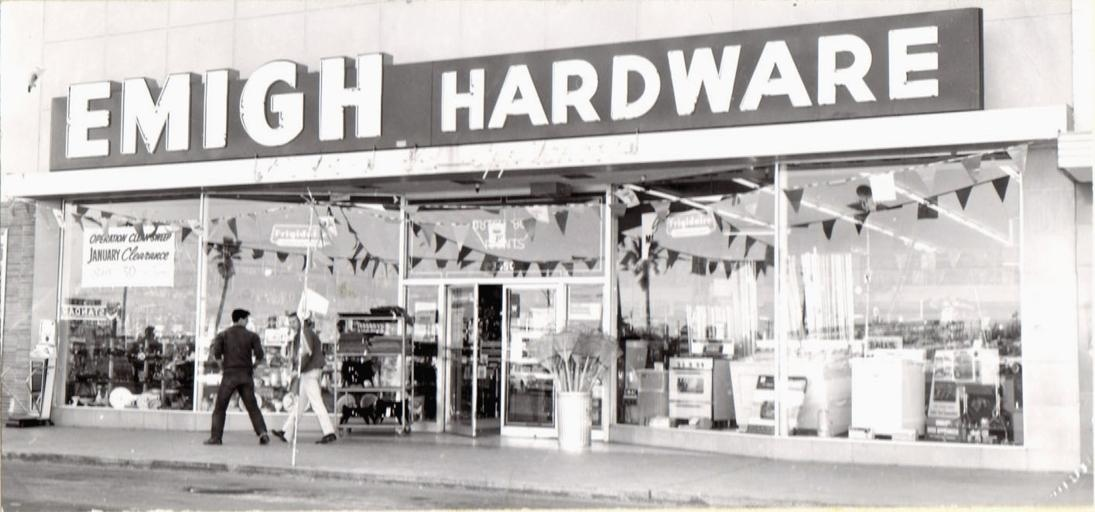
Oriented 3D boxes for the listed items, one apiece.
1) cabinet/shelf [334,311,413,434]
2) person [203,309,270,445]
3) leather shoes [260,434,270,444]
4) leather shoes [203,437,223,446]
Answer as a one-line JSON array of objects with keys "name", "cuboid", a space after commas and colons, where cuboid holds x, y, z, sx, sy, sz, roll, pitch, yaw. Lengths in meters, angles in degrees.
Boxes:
[{"name": "cabinet/shelf", "cuboid": [-4.658, 3.033, 41.082, 1.890, 3.335, 1.598, -1, -1, -1]}, {"name": "person", "cuboid": [-7.882, 3.038, 38.734, 1.495, 3.467, 0.879, 2, -9, -8]}, {"name": "leather shoes", "cuboid": [-7.162, 4.623, 38.643, 0.187, 0.261, 0.270, 8, -13, -41]}, {"name": "leather shoes", "cuboid": [-8.507, 4.655, 38.649, 0.448, 0.289, 0.206, 5, -3, 21]}]
